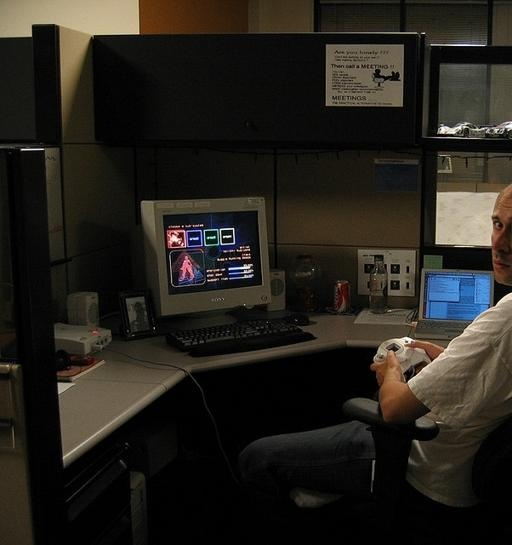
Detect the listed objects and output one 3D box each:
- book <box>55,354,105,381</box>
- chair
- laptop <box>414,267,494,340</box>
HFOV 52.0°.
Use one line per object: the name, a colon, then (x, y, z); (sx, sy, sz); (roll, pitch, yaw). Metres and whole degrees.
book: (-0.554, 0.295, 1.631); (0.082, 0.033, 0.199); (-2, 9, 10)
chair: (0.383, 0.392, 1.210); (0.240, 0.315, 0.260); (-8, 11, -19)
laptop: (0.880, 0.130, 2.316); (0.299, 0.244, 0.259); (4, -9, 21)
